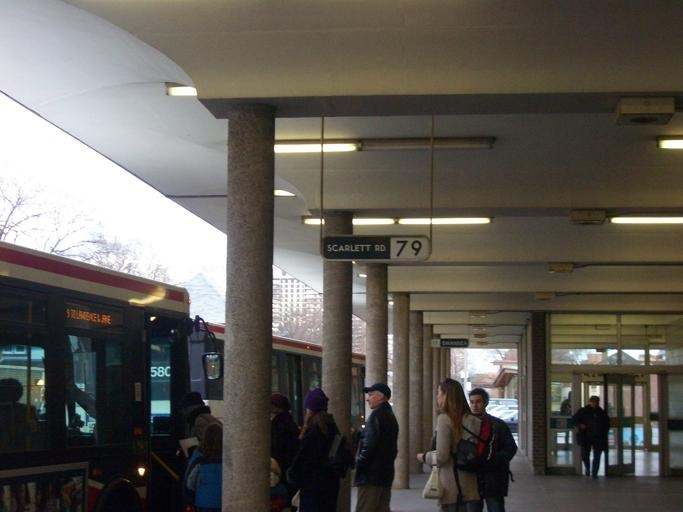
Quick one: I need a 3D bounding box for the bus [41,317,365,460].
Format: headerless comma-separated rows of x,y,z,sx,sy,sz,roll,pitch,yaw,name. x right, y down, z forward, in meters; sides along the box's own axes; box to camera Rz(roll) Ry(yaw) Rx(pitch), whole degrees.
-1.751,2.104,16.186,1.640,1.579,5.925,-4,-11,23,bus

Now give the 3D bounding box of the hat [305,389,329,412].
-0.288,1.604,9.882,0.202,0.201,0.265,6,4,10,hat

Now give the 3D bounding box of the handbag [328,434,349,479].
-0.052,2.172,9.601,0.225,0.430,0.474,0,-13,17,handbag

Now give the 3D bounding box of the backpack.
1.427,2.211,10.351,0.542,0.724,0.375,28,-22,-28,backpack

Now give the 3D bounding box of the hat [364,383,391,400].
0.434,1.696,11.275,0.306,0.159,0.198,8,-17,15,hat

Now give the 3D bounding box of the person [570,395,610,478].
6.736,4.878,23.793,0.940,2.166,1.428,-1,-10,15,person

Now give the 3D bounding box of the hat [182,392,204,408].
-1.845,1.755,10.832,0.162,0.128,0.214,-1,-9,-5,hat
